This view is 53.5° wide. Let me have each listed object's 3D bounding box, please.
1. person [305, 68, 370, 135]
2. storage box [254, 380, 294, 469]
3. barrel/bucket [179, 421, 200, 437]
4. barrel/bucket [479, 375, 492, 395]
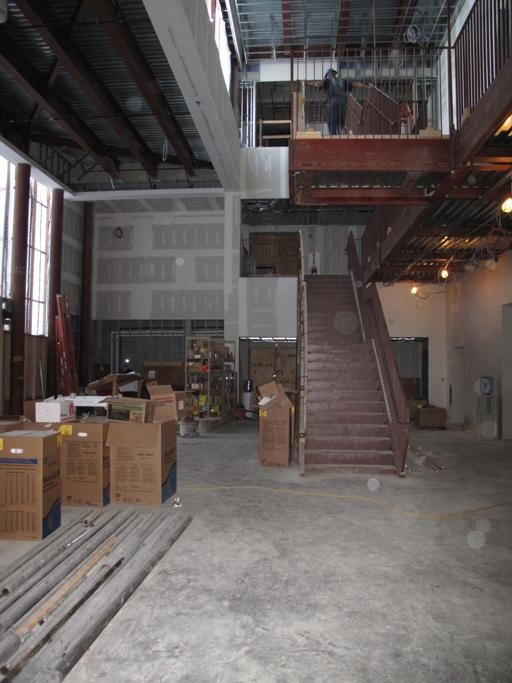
[{"bbox_3d":[1.161,-3.476,7.525,0.538,1.075,0.359,-3,1,-6],"label":"person"},{"bbox_3d":[0.266,1.151,7.254,0.488,1.182,0.698,-1,-4,0],"label":"storage box"},{"bbox_3d":[-1.397,1.785,10.490,0.285,0.371,0.335,0,-4,-3],"label":"barrel/bucket"},{"bbox_3d":[4.601,0.877,10.216,0.220,0.360,0.186,-3,-5,28],"label":"barrel/bucket"}]
